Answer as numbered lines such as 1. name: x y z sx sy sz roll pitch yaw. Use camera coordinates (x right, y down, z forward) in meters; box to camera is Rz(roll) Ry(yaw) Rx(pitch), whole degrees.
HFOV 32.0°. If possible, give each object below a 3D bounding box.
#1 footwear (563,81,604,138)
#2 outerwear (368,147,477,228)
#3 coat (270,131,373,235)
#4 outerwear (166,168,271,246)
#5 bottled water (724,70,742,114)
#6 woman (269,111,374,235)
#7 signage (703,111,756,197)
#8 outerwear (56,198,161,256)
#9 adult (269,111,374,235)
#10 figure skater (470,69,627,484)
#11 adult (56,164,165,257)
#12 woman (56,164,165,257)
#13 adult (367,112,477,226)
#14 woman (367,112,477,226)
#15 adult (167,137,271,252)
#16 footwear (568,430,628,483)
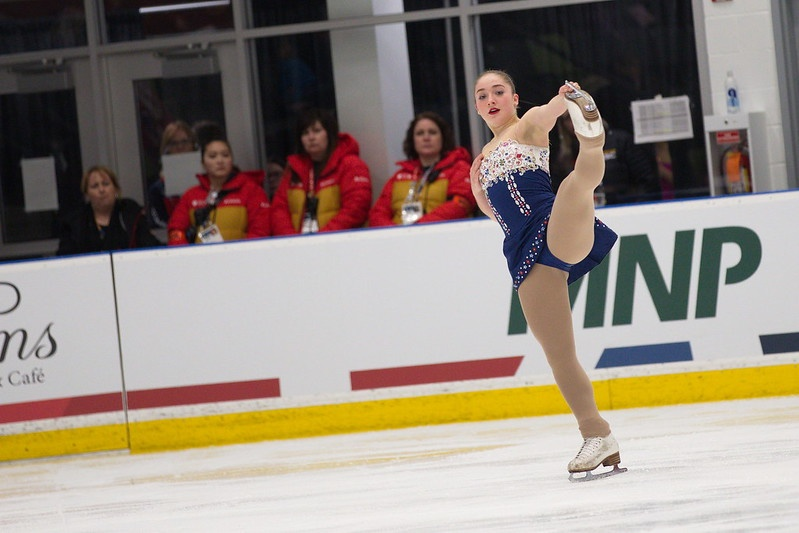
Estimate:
1. footwear: 1.326 -1.106 9.966 0.242 0.417 0.152 -32 -1 40
2. outerwear: 0.263 -0.669 12.306 0.666 0.877 0.246 2 -5 28
3. coat: -0.690 -0.697 12.680 0.941 0.992 0.593 -2 -6 25
4. outerwear: -1.636 -0.445 12.627 0.902 0.884 0.524 -1 -22 1
5. bottled water: 3.129 -1.642 13.027 0.107 0.391 0.113 -2 7 44
6. woman: -0.761 -0.748 12.561 0.900 1.372 0.821 -3 -6 9
7. signage: 3.085 -1.052 12.941 0.419 0.732 0.139 -6 5 13
8. outerwear: -2.655 -0.358 12.747 0.784 0.378 0.639 -3 11 -15
9. adult: -0.768 -0.744 12.574 0.947 1.381 0.805 -5 -7 20
10. figure skater: 1.146 0.019 10.355 1.034 3.048 0.469 -5 6 22
11. adult: -2.648 -0.490 12.779 0.698 0.661 0.410 -14 10 -17
12. woman: -2.648 -0.490 12.779 0.698 0.661 0.410 -14 10 -17
13. adult: 0.209 -0.787 12.417 0.894 1.332 0.790 -1 -17 11
14. woman: 0.201 -0.781 12.408 0.916 1.324 0.798 1 -17 8
15. adult: -1.668 -0.634 12.637 0.688 1.409 0.541 -8 -27 -4
16. footwear: 1.478 1.419 10.323 0.559 0.328 0.135 -6 3 -34
